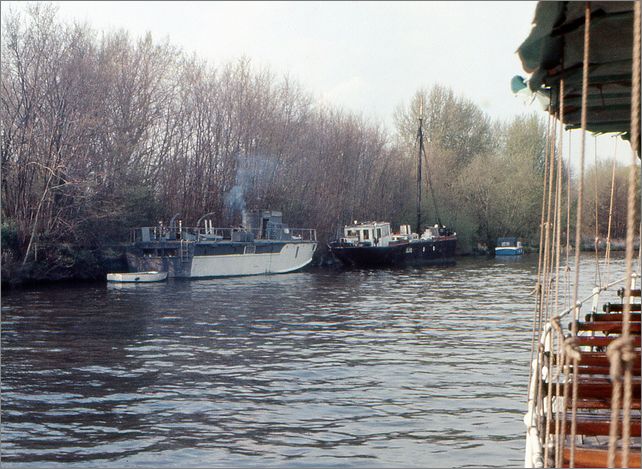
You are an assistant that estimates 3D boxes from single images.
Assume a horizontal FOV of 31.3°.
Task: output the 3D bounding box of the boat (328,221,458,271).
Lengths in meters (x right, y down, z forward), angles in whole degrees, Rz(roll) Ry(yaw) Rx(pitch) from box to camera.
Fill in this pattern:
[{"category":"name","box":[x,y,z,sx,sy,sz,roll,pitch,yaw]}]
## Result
[{"category":"boat","box":[4.884,0.763,69.045,2.846,2.600,10.954,-1,-3,34]}]
